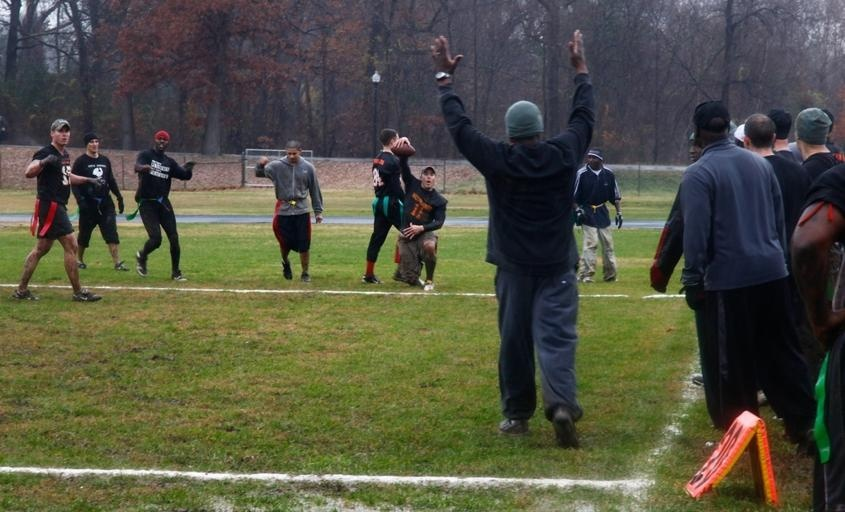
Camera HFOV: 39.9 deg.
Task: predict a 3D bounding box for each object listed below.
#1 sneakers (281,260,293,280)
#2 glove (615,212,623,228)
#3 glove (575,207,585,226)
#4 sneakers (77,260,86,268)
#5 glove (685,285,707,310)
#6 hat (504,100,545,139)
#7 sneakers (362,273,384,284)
[{"bbox_3d":[-3.951,0.359,33.589,0.248,0.620,0.249,-14,-31,-15],"label":"sneakers"},{"bbox_3d":[6.340,-1.186,37.727,0.225,0.599,0.452,2,-6,1],"label":"glove"},{"bbox_3d":[4.575,-1.178,33.991,0.423,0.486,0.199,0,-6,18],"label":"glove"},{"bbox_3d":[-10.103,0.245,34.376,0.323,0.121,0.121,3,6,37],"label":"sneakers"},{"bbox_3d":[6.189,0.914,26.495,0.645,0.504,0.438,-3,8,13],"label":"glove"},{"bbox_3d":[2.351,-3.175,26.964,0.983,0.674,0.891,-2,24,7],"label":"hat"},{"bbox_3d":[-1.385,0.621,33.290,0.678,0.234,0.222,5,22,-18],"label":"sneakers"}]
